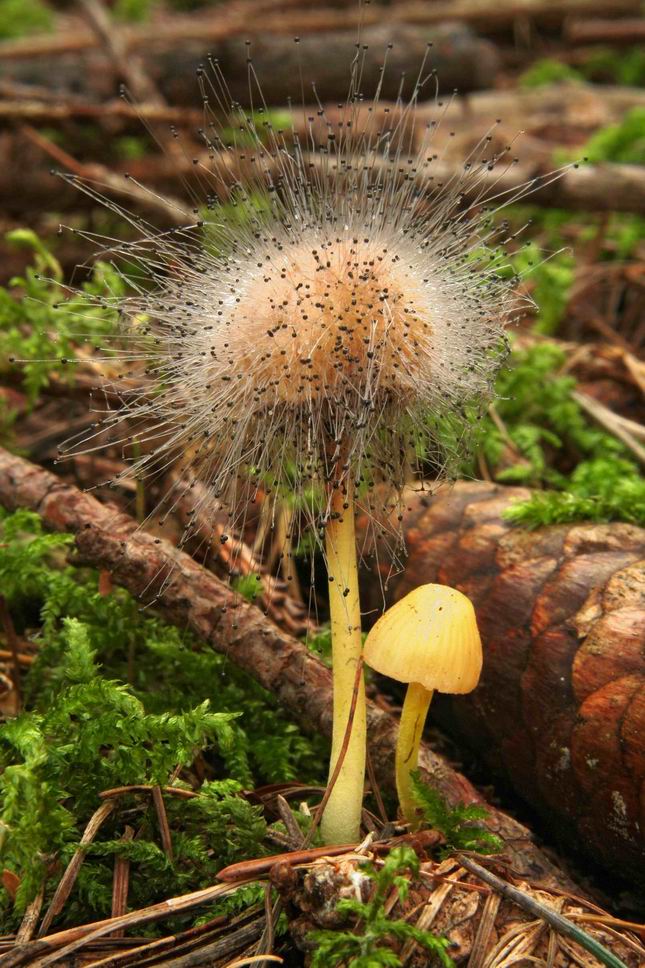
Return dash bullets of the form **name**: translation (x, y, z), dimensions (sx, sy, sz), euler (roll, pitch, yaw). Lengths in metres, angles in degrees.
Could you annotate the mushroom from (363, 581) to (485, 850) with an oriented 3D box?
- **mushroom**: translation (0.252, 0.543, 2.255), dimensions (0.263, 0.587, 0.254), euler (-21, 38, -33)
